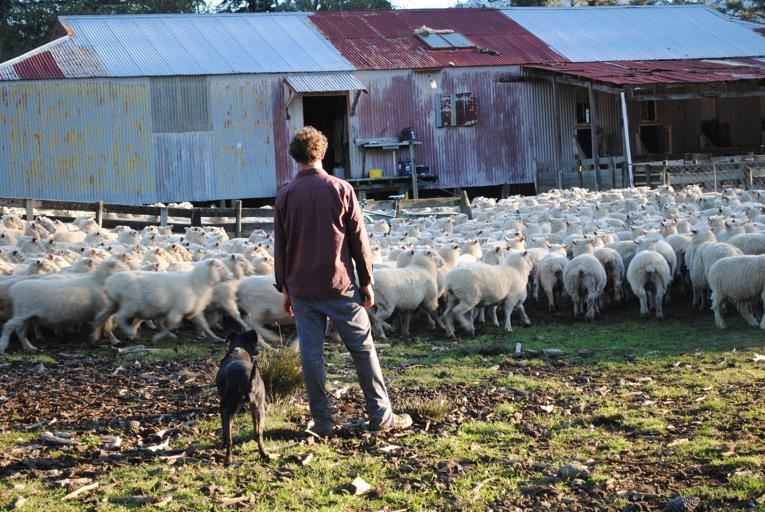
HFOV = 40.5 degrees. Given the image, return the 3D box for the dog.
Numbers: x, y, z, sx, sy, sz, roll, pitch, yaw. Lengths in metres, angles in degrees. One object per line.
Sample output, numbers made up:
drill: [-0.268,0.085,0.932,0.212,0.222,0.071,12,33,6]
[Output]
dog: [-2.260,2.265,16.633,0.773,2.001,0.759,-3,4,-9]
